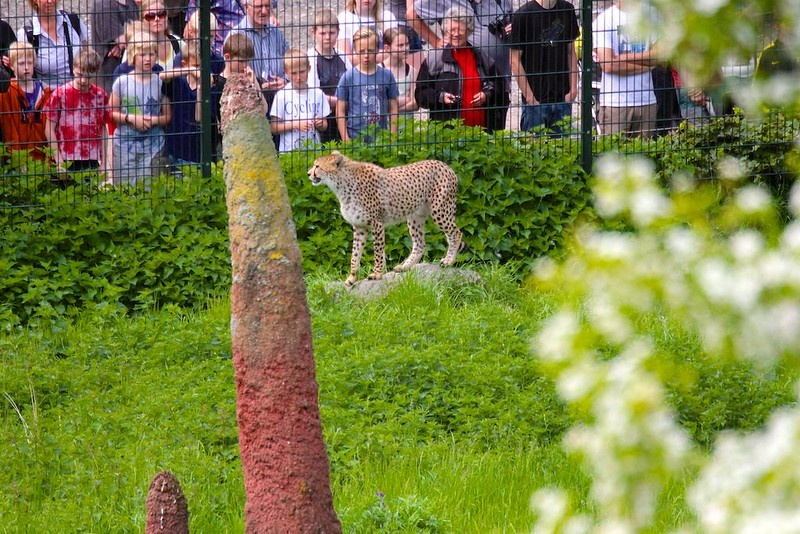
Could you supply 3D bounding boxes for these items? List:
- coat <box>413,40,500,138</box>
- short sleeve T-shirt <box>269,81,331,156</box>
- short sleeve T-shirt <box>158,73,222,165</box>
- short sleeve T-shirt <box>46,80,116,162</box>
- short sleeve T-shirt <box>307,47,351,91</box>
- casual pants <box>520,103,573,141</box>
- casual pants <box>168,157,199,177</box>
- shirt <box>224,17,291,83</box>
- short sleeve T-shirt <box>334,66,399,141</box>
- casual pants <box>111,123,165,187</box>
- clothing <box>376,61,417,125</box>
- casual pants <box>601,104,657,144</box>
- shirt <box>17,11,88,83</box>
[{"bbox_3d":[0.663,-2.295,22.454,1.240,1.614,0.882,1,-12,-5],"label":"coat"},{"bbox_3d":[-1.243,-1.911,22.649,0.752,0.979,0.359,-7,37,-10],"label":"short sleeve T-shirt"},{"bbox_3d":[-2.657,-1.863,22.372,0.639,1.296,0.625,8,-6,3],"label":"short sleeve T-shirt"},{"bbox_3d":[-4.006,-1.924,22.280,0.873,1.119,0.415,1,42,-11],"label":"short sleeve T-shirt"},{"bbox_3d":[-0.890,-2.524,22.520,0.424,0.494,0.249,-2,12,0],"label":"short sleeve T-shirt"},{"bbox_3d":[1.803,-1.658,22.079,0.628,0.696,0.387,3,6,22],"label":"casual pants"},{"bbox_3d":[-2.686,-1.282,22.085,0.359,0.193,0.708,-5,22,-8],"label":"casual pants"},{"bbox_3d":[-1.723,-2.773,22.459,0.953,1.084,0.587,-2,1,-29],"label":"shirt"},{"bbox_3d":[-0.427,-2.103,22.431,0.732,1.002,0.480,-6,30,-14],"label":"short sleeve T-shirt"},{"bbox_3d":[-3.295,-1.553,22.325,0.623,1.009,0.542,-6,50,-16],"label":"casual pants"},{"bbox_3d":[0.092,-2.297,22.633,0.449,0.673,0.351,6,39,38],"label":"clothing"},{"bbox_3d":[2.870,-1.866,22.529,0.507,0.469,0.313,8,1,2],"label":"casual pants"},{"bbox_3d":[-4.436,-2.809,22.697,0.810,0.974,0.470,-4,0,-37],"label":"shirt"}]
